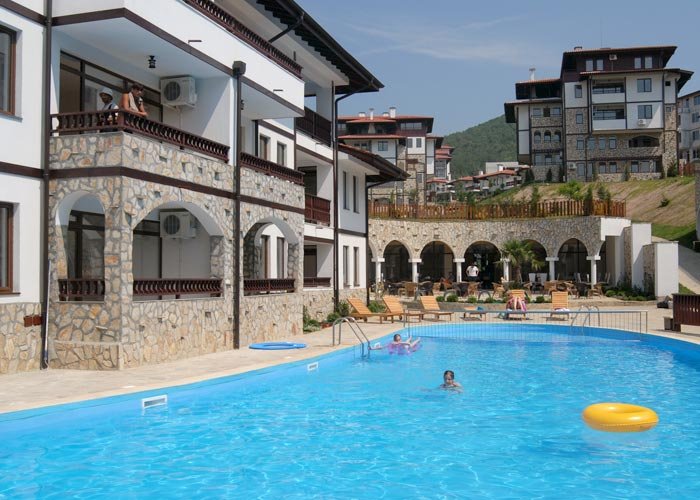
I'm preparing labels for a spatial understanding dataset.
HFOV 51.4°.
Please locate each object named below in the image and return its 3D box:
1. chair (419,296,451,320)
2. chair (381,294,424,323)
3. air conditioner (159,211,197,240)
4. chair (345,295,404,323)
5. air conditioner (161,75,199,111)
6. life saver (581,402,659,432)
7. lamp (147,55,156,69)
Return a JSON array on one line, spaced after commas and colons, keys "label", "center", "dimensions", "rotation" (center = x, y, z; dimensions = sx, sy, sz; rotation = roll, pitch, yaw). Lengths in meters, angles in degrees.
[{"label": "chair", "center": [3.487, 2.490, 30.396], "dimensions": [0.753, 0.874, 1.481], "rotation": [0, -2, -20]}, {"label": "chair", "center": [1.785, 2.488, 29.397], "dimensions": [0.887, 0.815, 1.823], "rotation": [1, -3, -33]}, {"label": "air conditioner", "center": [-5.099, -0.705, 21.802], "dimensions": [1.277, 1.147, 0.697], "rotation": [-1, -4, 8]}, {"label": "chair", "center": [0.694, 2.349, 28.198], "dimensions": [1.917, 0.908, 1.054], "rotation": [-2, -2, 30]}, {"label": "air conditioner", "center": [-5.025, -4.548, 21.156], "dimensions": [0.925, 0.796, 0.532], "rotation": [-1, -2, 10]}, {"label": "life saver", "center": [5.483, 3.423, 14.719], "dimensions": [1.357, 0.390, 0.687], "rotation": [0, 4, -2]}, {"label": "lamp", "center": [-5.412, -5.129, 19.797], "dimensions": [0.229, 0.316, 0.234], "rotation": [-1, 1, -11]}]
